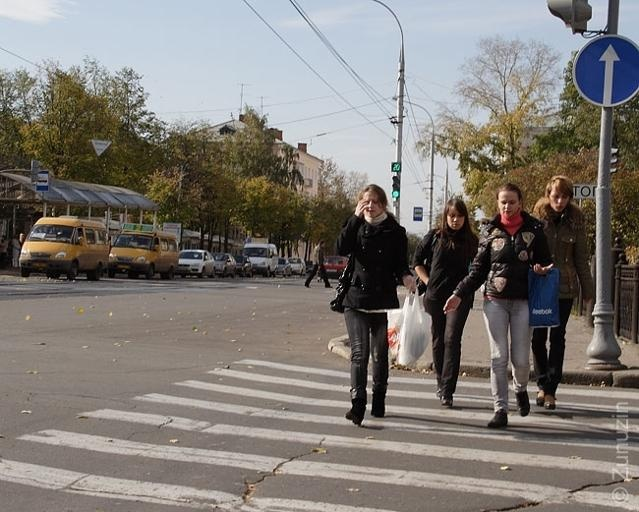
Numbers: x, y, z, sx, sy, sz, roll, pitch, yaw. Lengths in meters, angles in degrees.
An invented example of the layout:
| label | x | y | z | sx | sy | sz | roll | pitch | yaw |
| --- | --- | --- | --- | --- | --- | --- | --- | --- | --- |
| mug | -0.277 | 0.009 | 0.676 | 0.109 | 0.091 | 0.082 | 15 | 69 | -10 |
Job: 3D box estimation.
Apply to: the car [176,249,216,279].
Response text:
| label | x | y | z | sx | sy | sz | roll | pitch | yaw |
| --- | --- | --- | --- | --- | --- | --- | --- | --- | --- |
| car | -7.277 | 0.427 | 44.784 | 1.182 | 1.056 | 2.168 | -1 | -7 | 9 |

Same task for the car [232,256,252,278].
| label | x | y | z | sx | sy | sz | roll | pitch | yaw |
| --- | --- | --- | --- | --- | --- | --- | --- | --- | --- |
| car | -5.587 | 0.817 | 55.234 | 0.789 | 0.996 | 1.753 | -1 | -8 | 9 |

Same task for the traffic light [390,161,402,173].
| label | x | y | z | sx | sy | sz | roll | pitch | yaw |
| --- | --- | --- | --- | --- | --- | --- | --- | --- | --- |
| traffic light | 2.897 | -3.375 | 28.592 | 0.323 | 0.536 | 0.493 | 2 | -4 | 11 |

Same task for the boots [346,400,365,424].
| label | x | y | z | sx | sy | sz | roll | pitch | yaw |
| --- | --- | --- | --- | --- | --- | --- | --- | --- | --- |
| boots | 0.329 | 1.448 | 6.985 | 0.178 | 0.248 | 0.260 | 3 | -4 | 2 |

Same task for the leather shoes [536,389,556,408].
| label | x | y | z | sx | sy | sz | roll | pitch | yaw |
| --- | --- | --- | --- | --- | --- | --- | --- | --- | --- |
| leather shoes | 2.388 | 1.536 | 7.967 | 0.091 | 0.129 | 0.303 | 0 | -9 | 8 |

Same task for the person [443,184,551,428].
| label | x | y | z | sx | sy | sz | roll | pitch | yaw |
| --- | --- | --- | --- | --- | --- | --- | --- | --- | --- |
| person | 1.748 | 0.467 | 7.224 | 0.850 | 2.310 | 0.501 | 2 | -3 | 10 |

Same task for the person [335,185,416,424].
| label | x | y | z | sx | sy | sz | roll | pitch | yaw |
| --- | --- | --- | --- | --- | --- | --- | --- | --- | --- |
| person | 0.492 | 0.458 | 7.206 | 0.766 | 2.271 | 0.582 | 3 | -3 | -1 |

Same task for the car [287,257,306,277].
| label | x | y | z | sx | sy | sz | roll | pitch | yaw |
| --- | --- | --- | --- | --- | --- | --- | --- | --- | --- |
| car | -2.162 | 1.071 | 67.649 | 1.206 | 1.085 | 2.168 | 1 | 8 | 1 |

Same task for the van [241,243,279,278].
| label | x | y | z | sx | sy | sz | roll | pitch | yaw |
| --- | --- | --- | --- | --- | --- | --- | --- | --- | --- |
| van | -4.848 | 0.096 | 59.512 | 2.235 | 2.939 | 5.192 | 0 | 2 | 3 |

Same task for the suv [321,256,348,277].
| label | x | y | z | sx | sy | sz | roll | pitch | yaw |
| --- | --- | --- | --- | --- | --- | --- | --- | --- | --- |
| suv | 0.644 | 0.555 | 38.190 | 0.911 | 0.814 | 2.227 | 1 | 7 | 11 |

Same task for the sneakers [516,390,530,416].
| label | x | y | z | sx | sy | sz | roll | pitch | yaw |
| --- | --- | --- | --- | --- | --- | --- | --- | --- | --- |
| sneakers | 1.964 | 1.434 | 7.317 | 0.086 | 0.310 | 0.119 | -3 | -14 | -23 |

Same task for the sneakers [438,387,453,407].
| label | x | y | z | sx | sy | sz | roll | pitch | yaw |
| --- | --- | --- | --- | --- | --- | --- | --- | --- | --- |
| sneakers | 1.339 | 1.505 | 8.062 | 0.080 | 0.125 | 0.246 | 1 | 5 | 6 |

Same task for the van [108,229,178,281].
| label | x | y | z | sx | sy | sz | roll | pitch | yaw |
| --- | --- | --- | --- | --- | --- | --- | --- | --- | --- |
| van | -8.953 | -0.059 | 38.672 | 2.172 | 2.783 | 5.354 | 4 | -2 | 6 |

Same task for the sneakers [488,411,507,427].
| label | x | y | z | sx | sy | sz | roll | pitch | yaw |
| --- | --- | --- | --- | --- | --- | --- | --- | --- | --- |
| sneakers | 1.662 | 1.553 | 7.113 | 0.084 | 0.197 | 0.259 | -3 | -11 | 41 |

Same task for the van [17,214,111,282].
| label | x | y | z | sx | sy | sz | roll | pitch | yaw |
| --- | --- | --- | --- | --- | --- | --- | --- | --- | --- |
| van | -10.674 | -0.231 | 32.179 | 1.923 | 2.133 | 3.960 | -1 | -5 | 9 |
